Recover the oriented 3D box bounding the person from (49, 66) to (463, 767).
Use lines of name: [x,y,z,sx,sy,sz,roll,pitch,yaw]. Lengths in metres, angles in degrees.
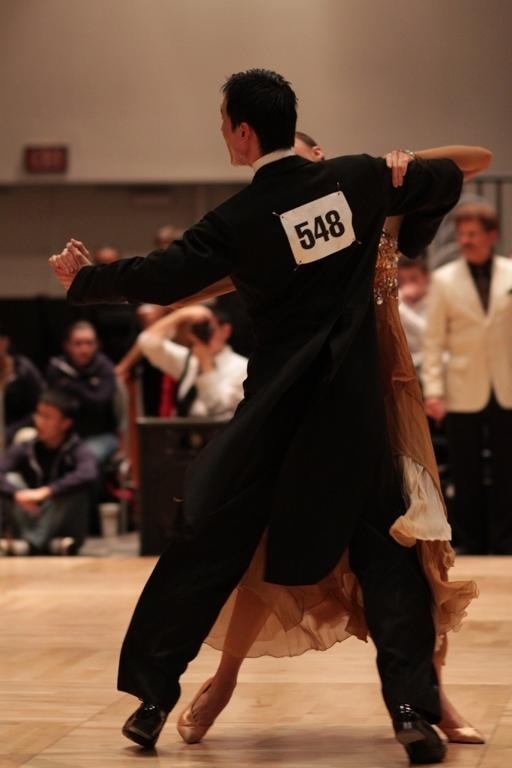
person: [0.044,0.041,1.207,0.625,0.922,0.270,-4,1,-12]
